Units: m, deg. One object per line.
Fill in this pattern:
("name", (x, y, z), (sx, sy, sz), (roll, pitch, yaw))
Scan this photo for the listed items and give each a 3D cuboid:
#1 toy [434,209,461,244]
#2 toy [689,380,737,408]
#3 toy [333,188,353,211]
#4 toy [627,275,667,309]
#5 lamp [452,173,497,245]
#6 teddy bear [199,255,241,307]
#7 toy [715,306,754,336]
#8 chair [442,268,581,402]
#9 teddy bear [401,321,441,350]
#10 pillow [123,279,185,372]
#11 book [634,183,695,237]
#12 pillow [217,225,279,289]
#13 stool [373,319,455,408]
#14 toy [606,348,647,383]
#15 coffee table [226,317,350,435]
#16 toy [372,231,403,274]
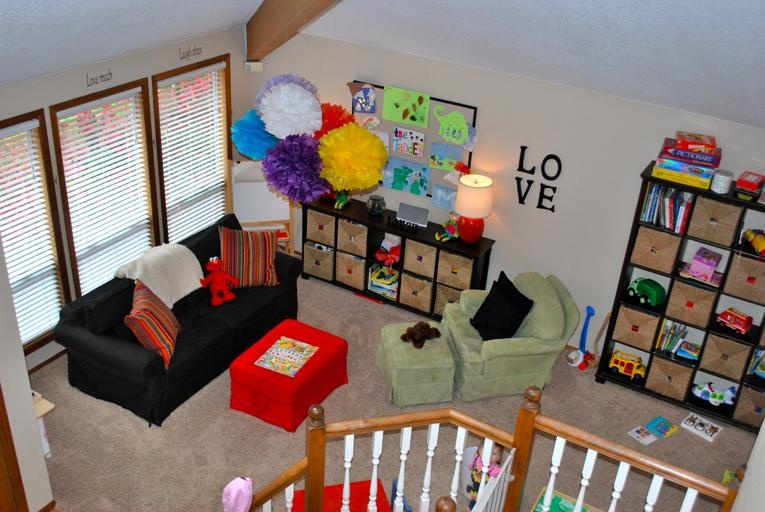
("toy", (0.847, -0.374, 7.084), (0.330, 0.379, 0.374), (20, 14, -13))
("toy", (3.743, 1.564, 6.193), (0.376, 0.157, 0.285), (0, 16, -3))
("toy", (-0.528, -0.741, 7.260), (0.233, 0.238, 0.587), (5, -4, -5))
("toy", (2.987, 0.416, 6.215), (0.281, 0.282, 0.457), (-23, 35, -39))
("lamp", (1.125, -0.558, 6.806), (0.449, 0.848, 0.484), (10, 20, 9))
("teddy bear", (-1.916, 0.302, 6.431), (0.435, 0.593, 0.179), (-19, 1, -36))
("toy", (3.771, 0.721, 5.940), (0.336, 0.177, 0.237), (30, 39, 31))
("chair", (1.435, 0.946, 6.283), (1.388, 1.329, 0.761), (4, 20, -8))
("teddy bear", (0.445, 0.861, 6.159), (0.313, 0.124, 0.314), (9, 22, 34))
("pillow", (-2.388, 0.718, 5.699), (0.513, 0.688, 0.548), (5, 20, -4))
("book", (2.978, -0.497, 5.761), (0.462, 0.472, 0.219), (17, 22, 27))
("pillow", (-1.625, 0.046, 6.584), (0.753, 0.762, 0.266), (-1, -3, -14))
("stool", (0.356, 1.193, 6.054), (0.849, 0.557, 0.843), (-7, 41, -10))
("toy", (2.876, 1.300, 6.502), (0.409, 0.229, 0.308), (8, 26, 13))
("coffee table", (-0.987, 1.214, 5.800), (0.961, 0.613, 1.248), (17, 32, 22))
("toy", (0.096, -0.013, 7.503), (0.358, 0.234, 0.499), (24, 56, 18))
